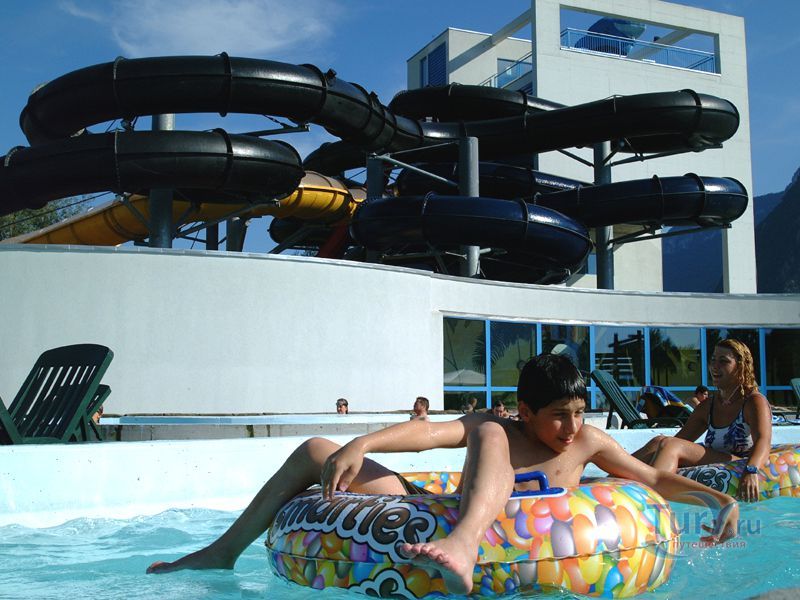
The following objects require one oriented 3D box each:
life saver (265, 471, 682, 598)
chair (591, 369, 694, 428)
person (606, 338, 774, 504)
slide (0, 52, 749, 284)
[{"bbox_3d":[0.482,1.559,5.843,2.564,0.736,0.472,-4,5,1],"label":"life saver"},{"bbox_3d":[3.193,1.376,12.481,1.117,0.572,0.595,-3,4,19],"label":"chair"},{"bbox_3d":[2.533,0.967,7.780,1.280,1.019,1.133,3,-3,-31],"label":"person"},{"bbox_3d":[-0.458,-2.428,15.937,9.355,2.773,7.071,0,-4,-12],"label":"slide"}]
